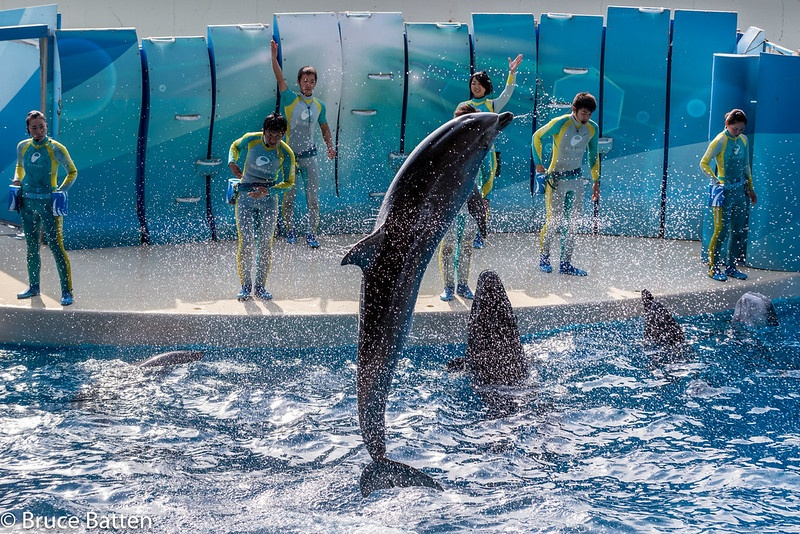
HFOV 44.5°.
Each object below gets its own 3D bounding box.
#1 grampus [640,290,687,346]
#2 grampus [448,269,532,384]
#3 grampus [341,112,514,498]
[{"bbox_3d":[2.945,0.579,10.942,0.480,0.617,0.301,4,7,16],"label":"grampus"},{"bbox_3d":[0.945,0.604,9.989,0.582,1.166,0.299,0,11,-4],"label":"grampus"},{"bbox_3d":[0.249,0.022,8.170,1.199,1.436,3.314,-2,44,8],"label":"grampus"}]
